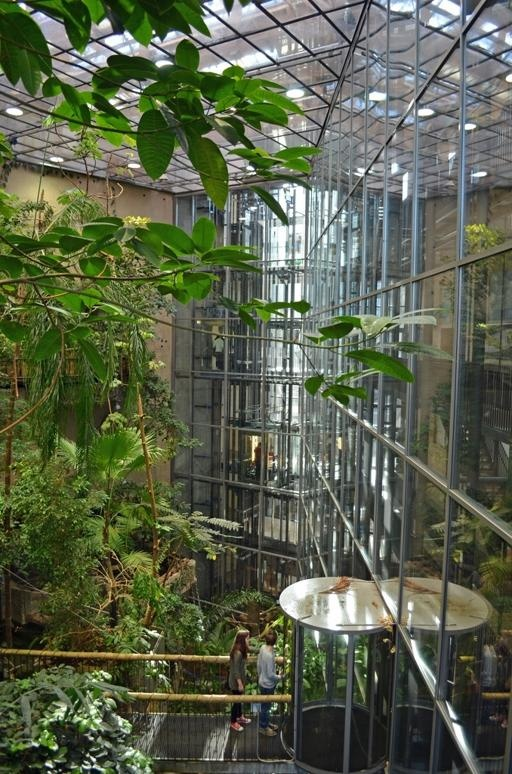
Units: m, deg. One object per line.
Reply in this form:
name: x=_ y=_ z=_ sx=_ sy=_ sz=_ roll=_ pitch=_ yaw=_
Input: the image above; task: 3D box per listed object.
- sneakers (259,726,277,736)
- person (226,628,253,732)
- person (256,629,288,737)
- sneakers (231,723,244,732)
sneakers: x=0.104 y=2.854 z=5.492 sx=0.176 sy=0.081 sz=0.062 roll=-1 pitch=2 yaw=13
person: x=-0.128 y=2.462 z=5.612 sx=0.208 sy=0.876 sz=0.655 roll=3 pitch=-4 yaw=-1
person: x=0.118 y=2.477 z=5.676 sx=0.228 sy=0.818 sz=0.787 roll=3 pitch=-4 yaw=3
sneakers: x=-0.157 y=2.855 z=5.562 sx=0.057 sy=0.051 sz=0.112 roll=6 pitch=-9 yaw=-33
